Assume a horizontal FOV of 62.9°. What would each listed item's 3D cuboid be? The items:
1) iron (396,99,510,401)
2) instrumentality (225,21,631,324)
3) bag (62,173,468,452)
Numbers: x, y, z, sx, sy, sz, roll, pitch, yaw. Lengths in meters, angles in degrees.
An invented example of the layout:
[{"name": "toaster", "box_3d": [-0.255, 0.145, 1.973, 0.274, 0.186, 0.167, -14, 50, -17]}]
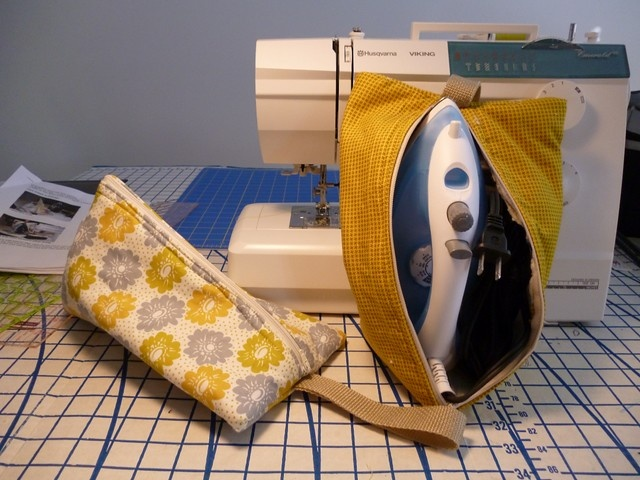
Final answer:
[{"name": "iron", "box_3d": [0.207, 0.026, 0.950, 0.164, 0.499, 0.256, 8, 28, 17]}, {"name": "instrumentality", "box_3d": [0.238, -0.121, 1.052, 0.773, 0.698, 0.291, 1, 22, 2]}, {"name": "bag", "box_3d": [-0.163, 0.194, 1.060, 0.841, 0.337, 0.358, 27, 45, 29]}]
